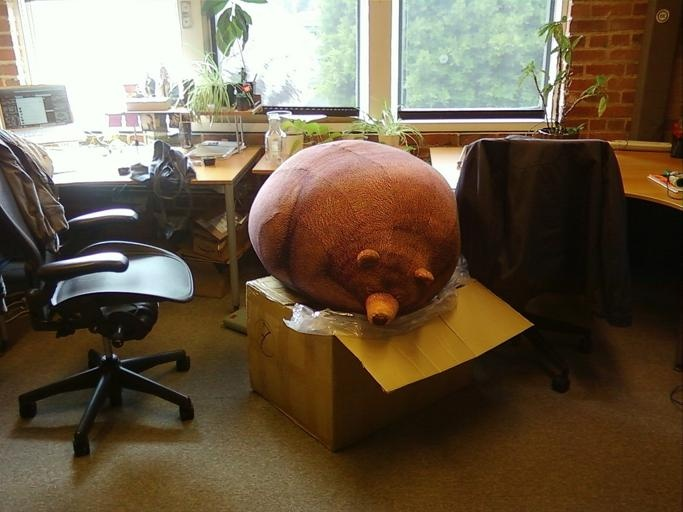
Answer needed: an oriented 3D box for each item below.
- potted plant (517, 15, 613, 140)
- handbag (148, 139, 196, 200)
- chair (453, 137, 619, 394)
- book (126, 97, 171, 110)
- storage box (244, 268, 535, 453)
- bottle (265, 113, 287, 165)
[{"bbox_3d":[1.365,-1.099,3.457,0.564,0.737,1.045,8,28,23],"label":"potted plant"},{"bbox_3d":[-0.958,-0.454,3.109,0.228,0.172,0.315,-19,66,-18],"label":"handbag"},{"bbox_3d":[1.006,0.001,2.827,0.838,1.204,0.756,9,19,28],"label":"chair"},{"bbox_3d":[-1.240,-0.972,3.563,0.263,0.080,0.105,-3,26,2],"label":"book"},{"bbox_3d":[0.064,0.290,2.426,0.881,0.501,0.900,-13,23,-35],"label":"storage box"},{"bbox_3d":[-0.415,-0.735,3.581,0.149,0.327,0.148,4,-2,0],"label":"bottle"}]
